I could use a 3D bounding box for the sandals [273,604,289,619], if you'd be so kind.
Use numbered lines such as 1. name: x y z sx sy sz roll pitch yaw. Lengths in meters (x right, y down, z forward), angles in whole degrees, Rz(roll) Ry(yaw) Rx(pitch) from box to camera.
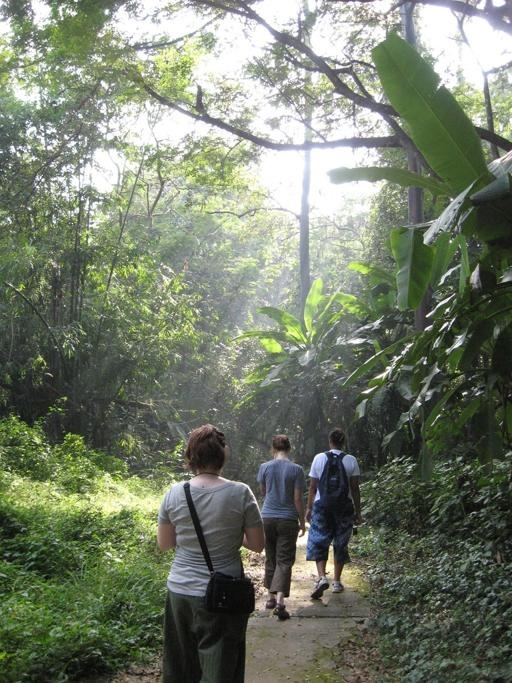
1. sandals: 0.201 2.148 4.989 0.062 0.080 0.182 5 -26 11

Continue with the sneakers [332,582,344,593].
1. sneakers: 0.738 2.241 5.726 0.051 0.058 0.129 -2 -10 16

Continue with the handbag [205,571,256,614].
1. handbag: -0.103 1.027 2.567 0.203 0.148 0.070 11 -17 -20

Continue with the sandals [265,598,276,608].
1. sandals: 0.123 2.202 5.299 0.062 0.078 0.118 -2 -19 9

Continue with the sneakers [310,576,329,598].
1. sneakers: 0.538 2.176 5.536 0.106 0.267 0.113 17 26 -13

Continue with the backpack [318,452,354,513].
1. backpack: 0.690 1.251 5.721 0.313 0.475 0.290 -2 8 -22
